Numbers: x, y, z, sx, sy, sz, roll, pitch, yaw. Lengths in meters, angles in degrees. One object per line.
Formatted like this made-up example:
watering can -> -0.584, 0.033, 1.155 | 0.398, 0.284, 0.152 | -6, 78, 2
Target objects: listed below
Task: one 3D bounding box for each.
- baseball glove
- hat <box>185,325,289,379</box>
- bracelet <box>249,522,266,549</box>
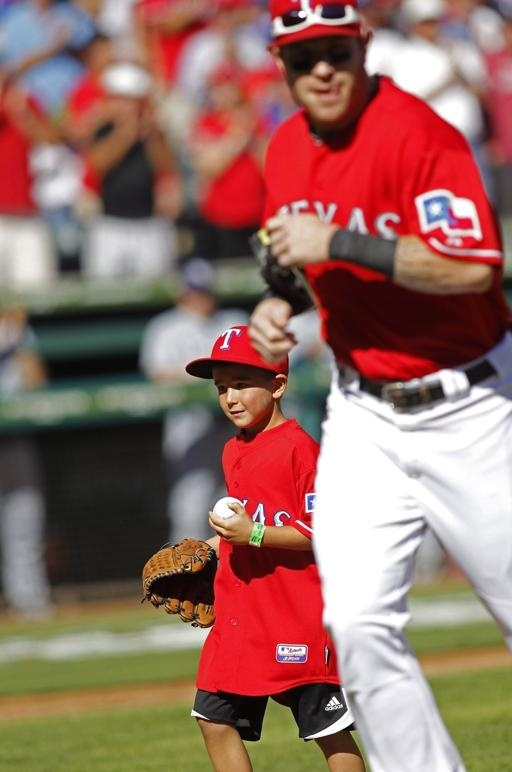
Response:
baseball glove -> -0.169, 0.456, 2.284 | 0.183, 0.214, 0.100 | -3, 25, 13
hat -> -0.055, -0.091, 2.260 | 0.209, 0.132, 0.268 | 2, -6, 3
bracelet -> 0.000, 0.307, 1.969 | 0.036, 0.043, 0.015 | 2, -14, 9
